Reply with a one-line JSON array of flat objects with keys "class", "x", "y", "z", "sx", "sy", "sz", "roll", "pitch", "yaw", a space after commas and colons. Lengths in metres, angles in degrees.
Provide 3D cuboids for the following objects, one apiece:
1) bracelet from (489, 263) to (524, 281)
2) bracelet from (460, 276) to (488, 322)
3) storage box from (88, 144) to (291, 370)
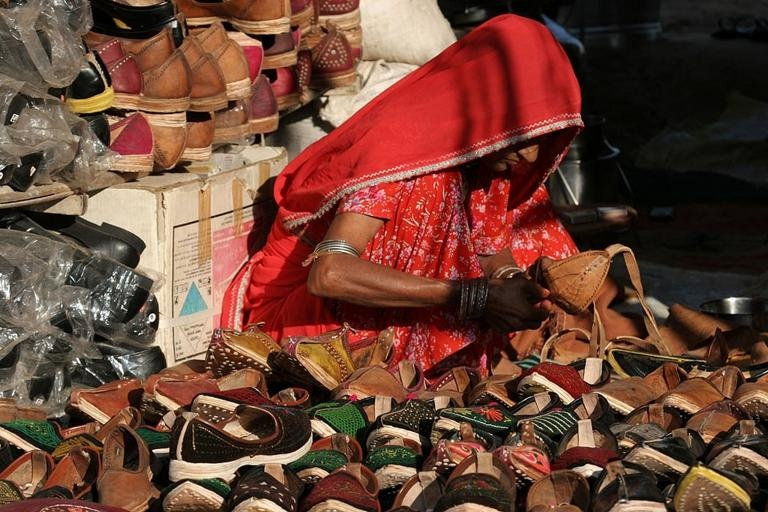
[{"class": "bracelet", "x": 0.490, "y": 0.062, "z": 2.744, "sx": 0.075, "sy": 0.052, "sz": 0.075, "roll": -27, "pitch": -2, "yaw": 39}, {"class": "bracelet", "x": 0.307, "y": 0.141, "z": 2.378, "sx": 0.080, "sy": 0.124, "sz": 0.106, "roll": 6, "pitch": 41, "yaw": -13}, {"class": "storage box", "x": -0.867, "y": 0.047, "z": 3.039, "sx": 0.458, "sy": 0.925, "sz": 1.109, "roll": 11, "pitch": 17, "yaw": 12}]
